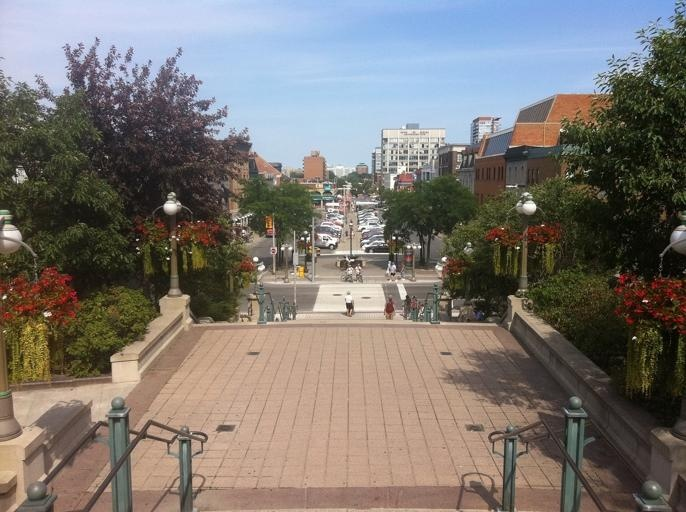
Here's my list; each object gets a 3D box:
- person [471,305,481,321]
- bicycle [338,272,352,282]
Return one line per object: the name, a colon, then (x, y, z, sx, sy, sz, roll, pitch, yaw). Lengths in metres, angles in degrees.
person: (6.227, 2.781, 33.134, 0.189, 0.763, 0.716, 7, -12, -26)
bicycle: (0.204, 1.544, 50.842, 0.919, 0.645, 0.489, 1, 7, 24)
